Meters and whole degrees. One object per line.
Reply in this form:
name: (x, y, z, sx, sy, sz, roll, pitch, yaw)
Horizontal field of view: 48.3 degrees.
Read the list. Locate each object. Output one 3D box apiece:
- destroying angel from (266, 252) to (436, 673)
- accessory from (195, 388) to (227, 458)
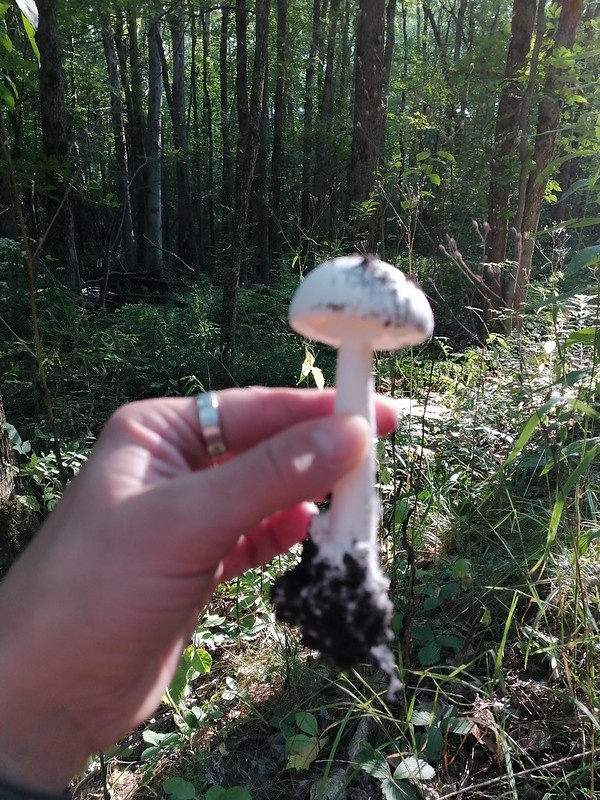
destroying angel: (0.099, 0.134, 1.420, 0.299, 0.824, 0.494, 5, 24, 10)
accessory: (-0.227, 0.066, 1.693, 0.042, 0.121, 0.120, -11, 53, -4)
